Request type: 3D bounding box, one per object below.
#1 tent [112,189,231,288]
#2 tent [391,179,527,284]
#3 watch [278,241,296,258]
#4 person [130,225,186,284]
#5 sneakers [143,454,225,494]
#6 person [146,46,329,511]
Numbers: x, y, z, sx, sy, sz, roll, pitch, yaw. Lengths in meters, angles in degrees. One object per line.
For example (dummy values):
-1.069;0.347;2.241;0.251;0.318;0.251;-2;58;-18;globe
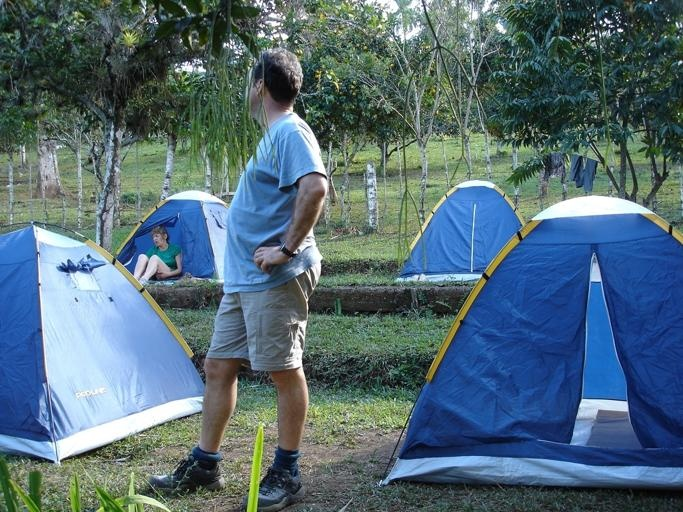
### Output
-2.180;-0.342;11.426;1.375;1.049;1.557;2;3;21;tent
1.521;-0.305;10.750;1.467;0.872;1.332;0;6;2;tent
-0.327;-0.025;5.054;0.106;0.067;0.100;11;0;-43;watch
-2.449;0.004;10.854;0.392;0.794;0.710;5;7;40;person
-1.003;1.384;5.331;0.491;0.272;0.205;5;-7;-9;sneakers
-0.543;0.148;5.170;0.920;2.829;0.398;-1;3;-1;person
